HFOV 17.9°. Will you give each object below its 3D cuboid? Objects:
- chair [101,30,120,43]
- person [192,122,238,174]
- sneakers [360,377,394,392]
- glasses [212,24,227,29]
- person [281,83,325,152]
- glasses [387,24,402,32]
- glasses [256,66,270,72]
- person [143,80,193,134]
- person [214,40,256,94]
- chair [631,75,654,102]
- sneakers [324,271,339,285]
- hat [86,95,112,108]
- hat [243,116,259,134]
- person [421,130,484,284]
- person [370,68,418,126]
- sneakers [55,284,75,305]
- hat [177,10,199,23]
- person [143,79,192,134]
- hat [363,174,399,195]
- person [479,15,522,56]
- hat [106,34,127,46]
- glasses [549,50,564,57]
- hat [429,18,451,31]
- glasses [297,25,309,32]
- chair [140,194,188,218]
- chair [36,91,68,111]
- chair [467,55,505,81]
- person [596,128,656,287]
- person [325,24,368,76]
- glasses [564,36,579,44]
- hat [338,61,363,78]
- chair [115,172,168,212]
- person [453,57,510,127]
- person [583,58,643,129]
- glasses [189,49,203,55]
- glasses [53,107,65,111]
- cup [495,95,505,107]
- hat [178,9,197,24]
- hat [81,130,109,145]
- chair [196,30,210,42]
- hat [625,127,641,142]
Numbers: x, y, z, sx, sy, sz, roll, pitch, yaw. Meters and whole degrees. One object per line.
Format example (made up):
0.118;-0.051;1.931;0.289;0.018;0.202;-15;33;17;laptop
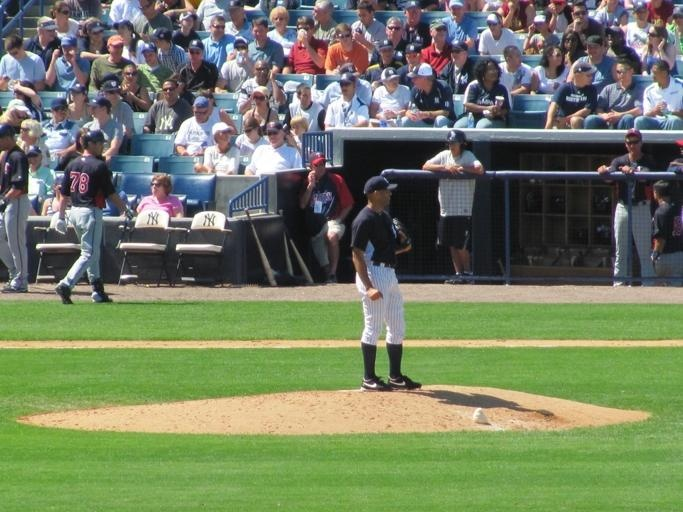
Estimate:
-4.097;-4.013;39.360;0.330;0.253;0.469;0;5;-24;chair
-2.082;-1.823;37.097;0.663;1.004;0.972;0;6;14;person
0.465;1.752;29.827;0.424;0.184;0.167;0;-2;2;sneakers
-2.220;-4.232;39.729;0.205;0.089;0.106;-1;-1;-29;glasses
-0.725;-2.486;37.789;0.581;1.077;0.750;-11;-16;37;person
0.922;-4.128;38.703;0.239;0.073;0.181;-2;-1;3;glasses
-1.373;-3.332;37.954;0.246;0.095;0.181;-2;-1;-13;glasses
-3.029;-2.643;38.275;0.886;1.121;0.602;2;-9;10;person
-1.872;-3.390;39.172;0.811;1.174;0.711;0;-2;-24;person
5.142;-2.815;37.396;0.361;0.474;0.692;-2;17;7;chair
-0.191;0.341;37.176;0.184;0.194;0.489;1;-4;5;sneakers
-4.110;-2.708;37.426;0.398;0.144;0.278;-1;-1;-26;hat
-1.539;-2.285;37.264;0.210;0.270;0.262;1;2;0;hat
1.916;-0.867;36.410;0.872;2.044;1.048;-2;-1;0;person
0.829;-2.728;37.730;0.774;1.101;0.874;-1;10;-6;person
-4.303;0.535;33.924;0.197;0.439;0.159;-21;22;-1;sneakers
-2.832;-4.480;40.104;0.212;0.193;0.363;-2;0;-25;hat
-3.156;-2.857;38.512;0.626;0.420;0.819;-15;26;19;person
0.525;-1.011;29.717;0.380;0.216;0.268;-5;11;-8;hat
2.782;-3.844;39.061;0.767;0.922;0.548;4;-30;-11;person
-4.070;-3.942;39.191;0.208;0.166;0.280;-2;-2;-26;hat
3.705;-3.570;37.786;0.123;0.107;0.140;-5;7;-14;glasses
1.742;-4.166;38.659;0.370;0.224;0.568;0;0;-2;hat
-0.701;-4.136;39.066;0.134;0.072;0.325;-2;-1;-10;glasses
-3.008;-0.717;36.370;0.609;0.589;0.355;-1;-37;1;chair
-5.243;-2.921;39.452;0.450;0.285;0.459;0;0;-5;chair
2.394;-3.280;37.082;0.430;0.270;0.540;1;-1;-3;chair
4.649;-0.719;35.931;1.340;2.560;0.889;5;-6;-44;person
0.075;-3.683;38.921;0.808;1.043;0.722;8;21;24;person
3.953;-3.802;37.661;0.144;0.203;0.195;1;10;-3;glasses
0.170;-3.344;38.370;0.418;0.225;0.263;-2;10;-10;hat
-3.426;-1.173;37.052;0.635;0.699;0.685;3;-9;4;chair
2.371;-2.782;37.214;1.047;1.348;0.870;0;12;-17;person
4.668;-2.623;37.048;0.838;1.660;1.003;4;6;25;person
-2.579;-3.676;38.604;0.224;0.095;0.225;-2;-1;-5;glasses
-4.889;-2.597;37.713;0.092;0.069;0.152;2;-5;-29;glasses
2.674;-2.684;37.114;0.169;0.199;0.173;7;1;0;cup
-2.845;-4.496;40.159;0.220;0.196;0.364;-6;-14;-36;hat
-3.888;-1.910;34.108;0.273;0.146;0.190;-6;28;-25;hat
-2.584;-4.188;40.721;0.188;0.213;0.218;0;13;6;chair
4.785;-2.038;35.888;0.252;0.171;0.330;-2;-1;6;hat
